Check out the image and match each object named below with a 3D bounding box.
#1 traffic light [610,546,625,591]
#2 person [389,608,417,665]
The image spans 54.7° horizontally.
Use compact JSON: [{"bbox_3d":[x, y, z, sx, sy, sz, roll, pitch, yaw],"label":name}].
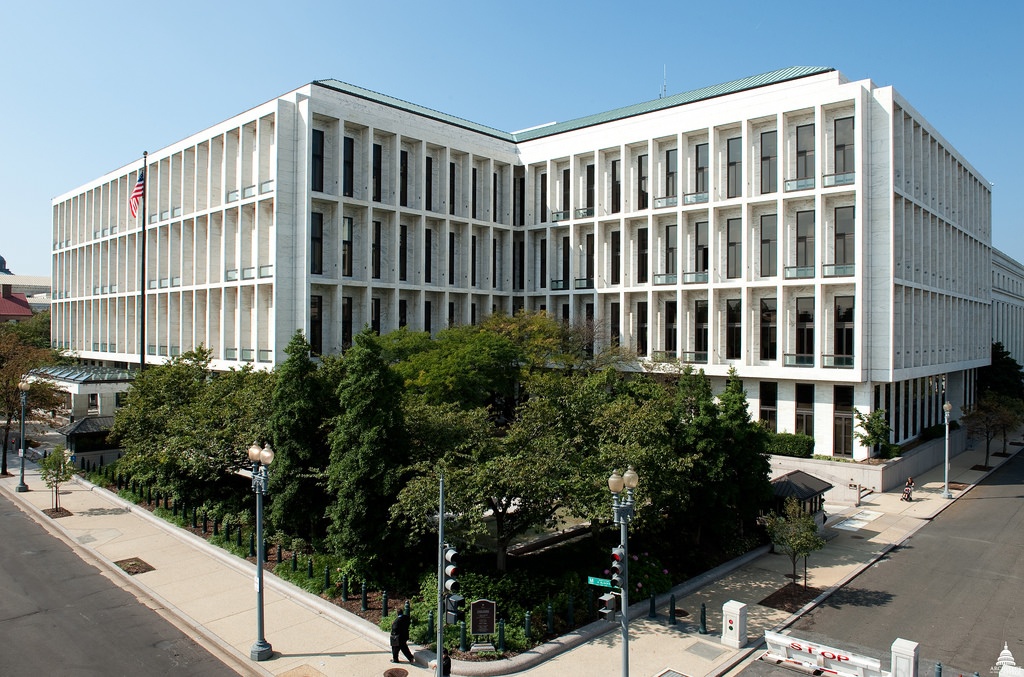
[{"bbox_3d":[5.157,10.968,47.422,0.733,2.003,0.589,0,-5,-2],"label":"traffic light"},{"bbox_3d":[-5.442,14.798,49.592,1.096,2.608,1.257,1,-5,-8],"label":"person"}]
